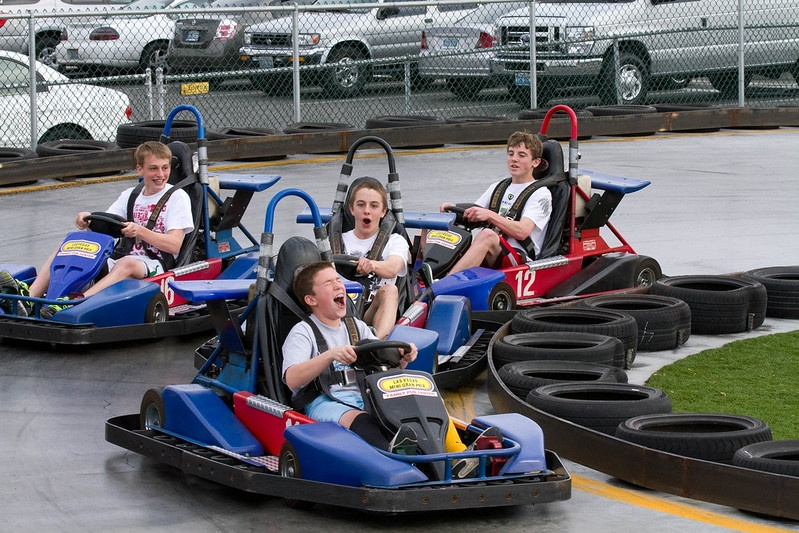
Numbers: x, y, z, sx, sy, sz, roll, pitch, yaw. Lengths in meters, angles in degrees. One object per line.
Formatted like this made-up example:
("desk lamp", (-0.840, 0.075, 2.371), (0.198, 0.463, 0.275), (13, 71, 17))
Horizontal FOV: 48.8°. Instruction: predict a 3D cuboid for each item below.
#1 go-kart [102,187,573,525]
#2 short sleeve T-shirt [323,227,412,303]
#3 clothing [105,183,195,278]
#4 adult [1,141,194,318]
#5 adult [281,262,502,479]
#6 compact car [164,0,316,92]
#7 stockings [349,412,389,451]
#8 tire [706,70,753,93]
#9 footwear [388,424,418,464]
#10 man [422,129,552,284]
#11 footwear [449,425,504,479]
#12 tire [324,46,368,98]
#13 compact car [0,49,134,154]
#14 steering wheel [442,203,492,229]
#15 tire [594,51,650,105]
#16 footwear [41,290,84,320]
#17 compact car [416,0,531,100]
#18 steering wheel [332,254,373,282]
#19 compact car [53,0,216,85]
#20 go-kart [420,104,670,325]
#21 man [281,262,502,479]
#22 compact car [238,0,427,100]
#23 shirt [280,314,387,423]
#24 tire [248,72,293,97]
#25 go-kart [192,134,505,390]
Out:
("go-kart", (-0.373, 0.333, 3.837), (1.339, 0.913, 1.892), (1, -1, -37))
("short sleeve T-shirt", (-0.197, -0.031, 5.158), (0.431, 0.398, 0.347), (-14, 22, -43))
("clothing", (-1.631, -0.215, 5.777), (0.617, 0.494, 0.315), (9, -18, 21))
("adult", (-1.969, -0.322, 5.901), (1.486, 0.900, 0.832), (-5, 11, -44))
("adult", (-0.039, 0.416, 3.575), (0.624, 0.621, 1.174), (-4, 19, -40))
("compact car", (-1.996, -3.191, 12.564), (1.168, 0.905, 2.280), (11, 21, 43))
("stockings", (-0.116, 0.644, 3.463), (0.202, 0.069, 0.054), (30, 58, 34))
("tire", (5.091, -2.857, 13.562), (0.477, 0.263, 0.430), (-1, 2, -1))
("footwear", (0.031, 0.679, 3.320), (0.101, 0.112, 0.032), (1, 7, -12))
("man", (0.576, -0.364, 6.108), (1.123, 1.096, 0.773), (-8, 16, -40))
("footwear", (0.313, 0.725, 3.426), (0.204, 0.177, 0.175), (-1, 10, 6))
("tire", (-0.749, -2.717, 12.083), (0.716, 0.607, 0.235), (-11, 25, -28))
("compact car", (-4.032, -1.946, 10.323), (1.858, 0.715, 0.890), (-6, 11, -28))
("steering wheel", (0.466, -0.351, 6.126), (0.269, 0.085, 0.215), (3, 13, -19))
("tire", (3.266, -2.825, 12.975), (0.874, 0.719, 0.279), (1, 9, -18))
("footwear", (-2.071, 0.245, 5.323), (0.319, 0.129, 0.111), (-20, -2, -27))
("compact car", (1.125, -3.173, 12.681), (0.939, 0.748, 1.777), (8, 20, 39))
("steering wheel", (-0.259, 0.010, 4.896), (0.200, 0.062, 0.136), (12, -11, 2))
("compact car", (-3.841, -3.257, 12.305), (2.434, 0.827, 1.056), (-1, 5, -14))
("go-kart", (1.054, -0.453, 6.580), (2.102, 1.364, 1.214), (-9, 10, 25))
("man", (-0.039, 0.428, 3.598), (0.637, 0.630, 1.168), (0, 15, -45))
("compact car", (-0.797, -2.966, 12.229), (2.442, 0.920, 1.334), (-8, 10, -34))
("shirt", (-0.279, 0.483, 3.794), (0.303, 0.452, 0.544), (-5, -20, 42))
("tire", (-1.717, -2.453, 11.844), (0.543, 0.303, 0.143), (-3, 11, -8))
("go-kart", (-0.049, 0.065, 4.923), (1.850, 1.070, 1.671), (1, 5, 5))
